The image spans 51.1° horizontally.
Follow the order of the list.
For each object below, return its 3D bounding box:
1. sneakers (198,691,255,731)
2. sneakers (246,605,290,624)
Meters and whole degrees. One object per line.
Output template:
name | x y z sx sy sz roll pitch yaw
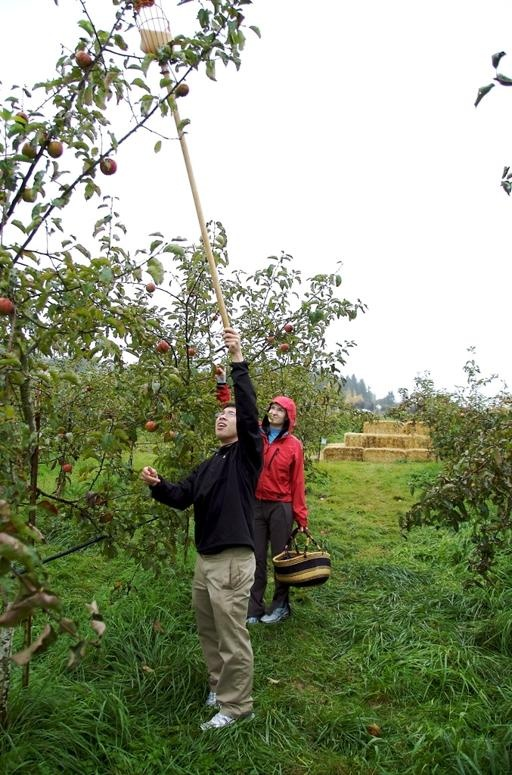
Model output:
sneakers | -0.145 1.476 2.435 0.091 0.169 0.270 -26 -37 25
sneakers | 0.088 1.581 3.757 0.300 0.126 0.100 8 -11 -25
